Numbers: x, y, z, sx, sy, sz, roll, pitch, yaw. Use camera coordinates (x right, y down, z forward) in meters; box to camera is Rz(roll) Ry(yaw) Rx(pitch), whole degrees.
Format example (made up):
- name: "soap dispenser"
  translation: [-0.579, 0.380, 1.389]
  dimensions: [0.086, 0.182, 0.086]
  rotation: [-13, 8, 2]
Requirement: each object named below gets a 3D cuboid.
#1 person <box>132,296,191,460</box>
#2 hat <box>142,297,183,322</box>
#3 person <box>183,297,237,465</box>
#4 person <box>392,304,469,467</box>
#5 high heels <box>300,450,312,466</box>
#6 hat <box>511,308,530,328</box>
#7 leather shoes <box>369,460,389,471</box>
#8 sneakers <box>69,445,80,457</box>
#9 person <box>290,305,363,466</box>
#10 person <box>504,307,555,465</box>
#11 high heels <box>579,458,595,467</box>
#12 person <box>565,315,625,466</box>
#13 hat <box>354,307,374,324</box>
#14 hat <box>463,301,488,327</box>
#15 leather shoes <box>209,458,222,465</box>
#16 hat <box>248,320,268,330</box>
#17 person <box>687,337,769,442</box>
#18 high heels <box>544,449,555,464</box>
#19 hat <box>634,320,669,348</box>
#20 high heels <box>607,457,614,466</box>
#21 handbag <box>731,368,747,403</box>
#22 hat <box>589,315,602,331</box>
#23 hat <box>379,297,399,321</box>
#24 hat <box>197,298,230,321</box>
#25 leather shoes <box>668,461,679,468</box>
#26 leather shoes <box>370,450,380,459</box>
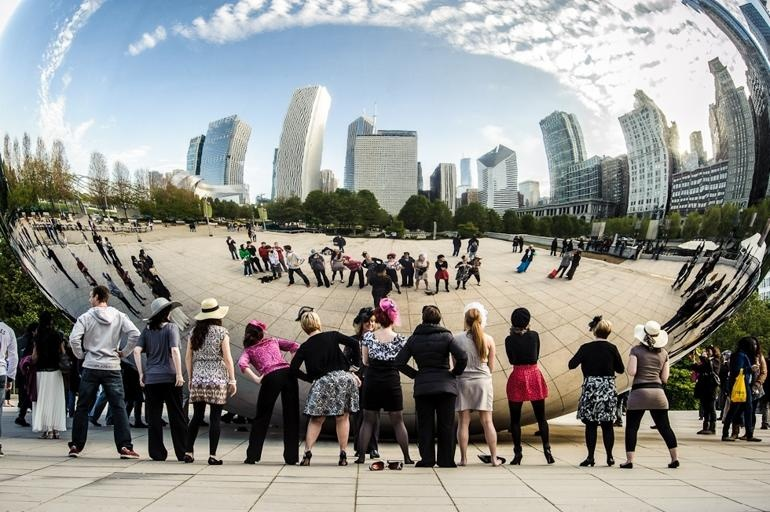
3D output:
- name: "person"
  translation: [-3.106, 1.659, 5.803]
  dimensions: [0.744, 2.124, 0.596]
  rotation: [-5, -11, 1]
- name: "hat"
  translation: [-3.101, 0.671, 5.679]
  dimensions: [0.339, 0.160, 0.389]
  rotation: [-27, -7, 6]
- name: "person"
  translation: [-2.379, 1.640, 5.591]
  dimensions: [0.674, 2.201, 0.526]
  rotation: [-3, -3, 44]
- name: "person"
  translation: [0.620, 1.680, 5.433]
  dimensions: [0.880, 2.123, 0.433]
  rotation: [-1, -2, 8]
- name: "high heels"
  translation: [-1.082, 2.640, 5.537]
  dimensions: [0.100, 0.136, 0.283]
  rotation: [8, -5, -19]
- name: "hat"
  translation: [1.774, 0.780, 5.428]
  dimensions: [0.253, 0.275, 0.107]
  rotation: [-1, -2, 11]
- name: "leather shoes"
  translation: [-0.118, 2.657, 5.389]
  dimensions: [0.228, 0.099, 0.256]
  rotation: [-1, -1, 0]
- name: "sneakers"
  translation: [-4.319, 2.614, 5.656]
  dimensions: [0.096, 0.106, 0.231]
  rotation: [2, -20, -6]
- name: "person"
  translation: [-0.821, 1.703, 5.537]
  dimensions: [0.914, 2.111, 0.400]
  rotation: [0, -2, -6]
- name: "person"
  translation: [1.902, 1.749, 5.666]
  dimensions: [0.496, 2.205, 0.733]
  rotation: [-2, -2, 34]
- name: "high heels"
  translation: [2.757, 2.777, 5.681]
  dimensions: [0.231, 0.106, 0.112]
  rotation: [1, -7, 1]
- name: "person"
  translation: [2.889, 1.820, 5.705]
  dimensions: [0.814, 2.071, 0.473]
  rotation: [0, -2, -20]
- name: "hat"
  translation: [-0.298, 0.759, 5.458]
  dimensions: [0.218, 0.082, 0.219]
  rotation: [-26, -7, 19]
- name: "hat"
  translation: [1.211, 0.745, 5.442]
  dimensions: [0.379, 0.327, 0.173]
  rotation: [0, -2, -32]
- name: "leather shoes"
  translation: [-2.271, 2.651, 5.479]
  dimensions: [0.161, 0.068, 0.086]
  rotation: [3, -9, -1]
- name: "hat"
  translation: [-1.731, 0.898, 5.524]
  dimensions: [0.226, 0.137, 0.148]
  rotation: [-1, -2, 0]
- name: "person"
  translation: [7.331, 2.640, 8.512]
  dimensions: [1.346, 2.056, 0.569]
  rotation: [1, -3, -45]
- name: "high heels"
  translation: [2.298, 2.751, 5.857]
  dimensions: [0.108, 0.106, 0.297]
  rotation: [2, 3, 5]
- name: "hat"
  translation: [3.675, 1.051, 5.755]
  dimensions: [0.393, 0.380, 0.326]
  rotation: [-1, -2, 20]
- name: "high heels"
  translation: [3.134, 2.818, 5.777]
  dimensions: [0.063, 0.065, 0.168]
  rotation: [-6, -26, 5]
- name: "handbag"
  translation: [6.917, 2.496, 8.087]
  dimensions: [0.232, 0.646, 0.167]
  rotation: [-2, -2, 26]
- name: "hat"
  translation: [2.829, 0.880, 5.584]
  dimensions: [0.183, 0.217, 0.113]
  rotation: [-1, -2, 22]
- name: "hat"
  translation: [0.037, 0.662, 5.334]
  dimensions: [0.099, 0.270, 0.281]
  rotation: [0, 27, 41]
- name: "hat"
  translation: [-2.306, 0.706, 5.471]
  dimensions: [0.331, 0.171, 0.305]
  rotation: [-6, 11, 37]
- name: "leather shoes"
  translation: [3.977, 2.809, 5.728]
  dimensions: [0.087, 0.064, 0.167]
  rotation: [0, -2, -1]
- name: "leather shoes"
  translation: [-0.173, 2.767, 5.896]
  dimensions: [0.099, 0.130, 0.183]
  rotation: [2, -27, -4]
